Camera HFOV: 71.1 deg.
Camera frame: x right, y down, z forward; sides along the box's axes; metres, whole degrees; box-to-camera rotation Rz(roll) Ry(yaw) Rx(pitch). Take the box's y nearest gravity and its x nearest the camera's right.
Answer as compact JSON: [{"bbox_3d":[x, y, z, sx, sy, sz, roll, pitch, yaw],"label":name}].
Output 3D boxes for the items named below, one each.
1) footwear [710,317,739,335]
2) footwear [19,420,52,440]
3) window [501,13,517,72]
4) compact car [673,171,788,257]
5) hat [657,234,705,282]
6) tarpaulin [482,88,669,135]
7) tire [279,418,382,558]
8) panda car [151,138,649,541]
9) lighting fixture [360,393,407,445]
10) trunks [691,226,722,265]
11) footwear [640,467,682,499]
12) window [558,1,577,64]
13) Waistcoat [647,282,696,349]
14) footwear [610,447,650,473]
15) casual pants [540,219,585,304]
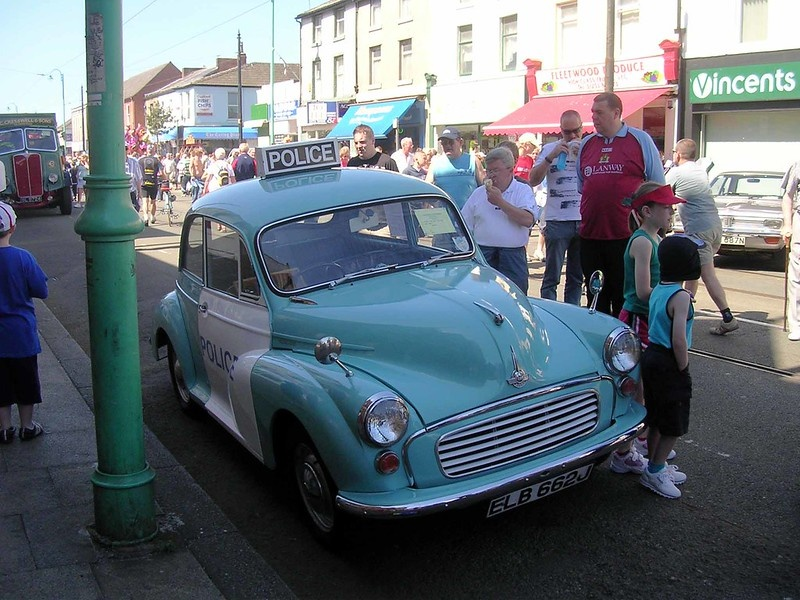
[{"bbox_3d":[4.379,0.362,7.620,0.162,0.239,0.487,-29,9,-19],"label":"footwear"},{"bbox_3d":[-3.184,1.133,4.850,0.082,0.099,0.211,9,15,21],"label":"footwear"},{"bbox_3d":[5.334,-12.281,26.652,0.819,1.687,0.078,-15,27,-13],"label":"window"},{"bbox_3d":[8.463,-1.425,14.006,1.884,1.858,4.176,6,-7,34],"label":"compact car"},{"bbox_3d":[1.950,-0.314,3.854,0.206,0.219,0.357,-1,33,42],"label":"hat"},{"bbox_3d":[7.175,-7.845,23.356,3.116,1.542,7.421,-14,20,-29],"label":"tarpaulin"},{"bbox_3d":[-0.380,1.073,3.184,0.258,0.800,0.717,-9,12,-38],"label":"tire"},{"bbox_3d":[-0.420,-0.010,4.399,2.024,2.010,3.753,-10,16,-33],"label":"panda car"},{"bbox_3d":[-0.051,0.671,2.981,0.306,0.115,0.338,-10,50,11],"label":"lighting fixture"},{"bbox_3d":[4.206,-0.773,7.655,0.252,0.503,0.361,-7,-15,38],"label":"trunks"},{"bbox_3d":[1.806,1.240,3.929,0.308,0.172,0.116,23,20,32],"label":"footwear"},{"bbox_3d":[7.223,-11.464,23.960,0.275,2.510,0.997,-9,13,-35],"label":"window"},{"bbox_3d":[1.880,0.105,3.900,0.245,0.457,0.297,4,4,5],"label":"Waistcoat"},{"bbox_3d":[1.707,1.203,4.190,0.266,0.191,0.153,-1,11,1],"label":"footwear"},{"bbox_3d":[2.014,-0.505,6.724,0.442,1.388,0.339,4,25,9],"label":"casual pants"}]
